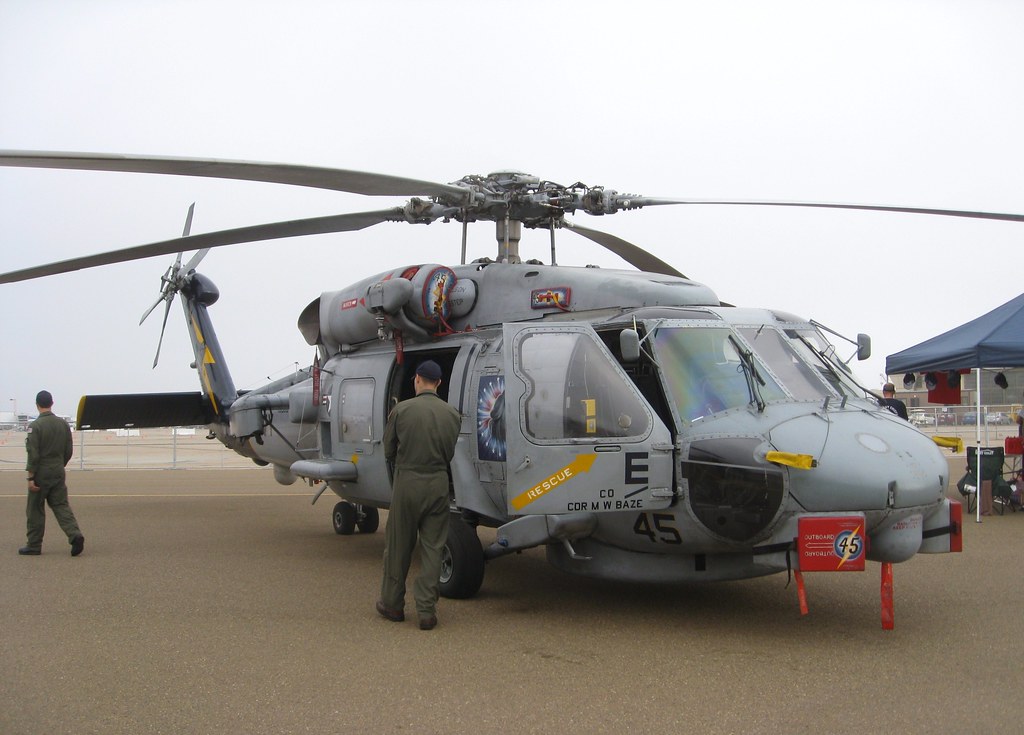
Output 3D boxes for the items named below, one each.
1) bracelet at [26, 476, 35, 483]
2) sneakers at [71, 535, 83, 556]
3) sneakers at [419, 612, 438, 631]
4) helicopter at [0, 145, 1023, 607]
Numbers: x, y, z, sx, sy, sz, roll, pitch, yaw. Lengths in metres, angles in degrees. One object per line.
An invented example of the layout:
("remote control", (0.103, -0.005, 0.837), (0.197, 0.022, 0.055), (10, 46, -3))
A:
("bracelet", (-5.976, 1.409, 10.558), (0.063, 0.052, 0.060), (-1, 3, -35))
("sneakers", (-5.485, 2.253, 10.770), (0.129, 0.318, 0.140), (1, 34, -37))
("sneakers", (-0.766, 2.238, 7.751), (0.166, 0.088, 0.167), (1, -1, -6))
("helicopter", (0.017, 0.362, 9.096), (6.471, 2.263, 6.325), (-3, -1, 45))
